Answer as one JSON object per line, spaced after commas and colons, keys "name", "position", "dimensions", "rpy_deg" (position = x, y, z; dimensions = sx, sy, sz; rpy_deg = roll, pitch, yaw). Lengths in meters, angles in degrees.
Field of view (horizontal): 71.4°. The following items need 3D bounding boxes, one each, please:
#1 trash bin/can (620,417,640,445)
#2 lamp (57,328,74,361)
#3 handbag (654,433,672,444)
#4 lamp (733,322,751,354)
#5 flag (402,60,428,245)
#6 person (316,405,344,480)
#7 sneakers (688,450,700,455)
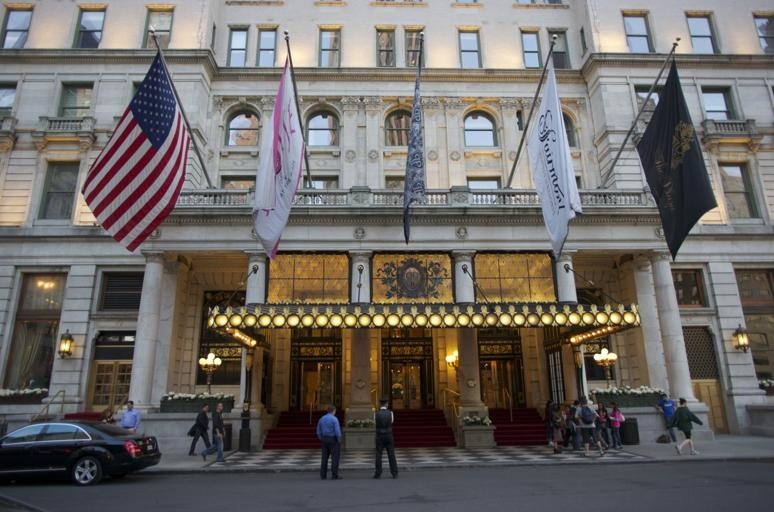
{"name": "trash bin/can", "position": [12.830, 9.263, 28.244], "dimensions": [1.208, 1.263, 1.200], "rpy_deg": [7, -11, -27]}
{"name": "lamp", "position": [-18.929, 5.234, 31.790], "dimensions": [0.689, 1.642, 0.740], "rpy_deg": [-3, -18, 5]}
{"name": "handbag", "position": [14.675, 9.810, 28.685], "dimensions": [0.710, 0.674, 0.672], "rpy_deg": [23, -21, -21]}
{"name": "lamp", "position": [21.446, 5.080, 32.818], "dimensions": [0.777, 1.653, 0.620], "rpy_deg": [-17, -24, 40]}
{"name": "flag", "position": [1.317, -5.504, 27.672], "dimensions": [1.592, 9.098, 1.044], "rpy_deg": [-5, 14, -21]}
{"name": "person", "position": [-2.339, 7.514, 21.526], "dimensions": [0.855, 2.794, 1.222], "rpy_deg": [1, -18, -7]}
{"name": "sneakers", "position": [14.225, 9.161, 24.918], "dimensions": [0.619, 0.279, 0.225], "rpy_deg": [7, -8, -37]}
